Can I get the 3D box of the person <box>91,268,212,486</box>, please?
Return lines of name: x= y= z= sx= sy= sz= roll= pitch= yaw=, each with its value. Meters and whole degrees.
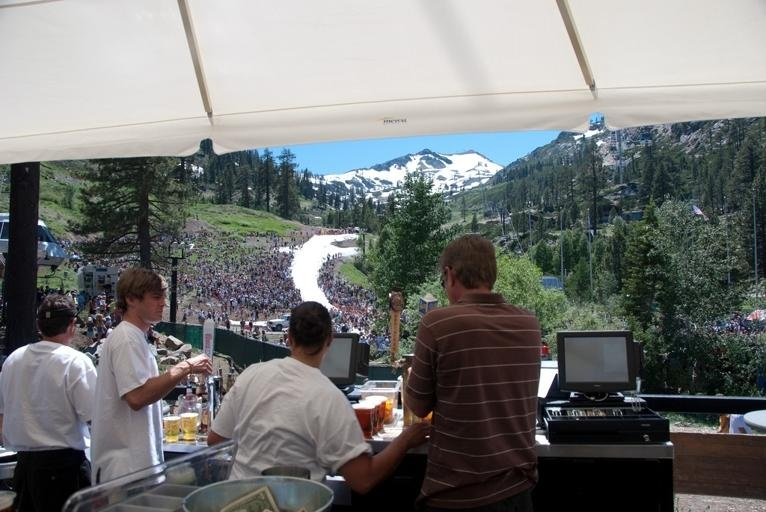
person: x=-1.543 y=0.769 z=3.743 sx=0.635 sy=1.378 sz=0.384 roll=2 pitch=-7 yaw=-27

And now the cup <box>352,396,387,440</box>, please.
cup: x=-0.099 y=1.082 z=3.850 sx=0.252 sy=0.205 sz=0.267 roll=-4 pitch=-9 yaw=-1

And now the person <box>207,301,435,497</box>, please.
person: x=-0.395 y=0.755 z=3.136 sx=1.109 sy=1.007 sz=0.400 roll=0 pitch=-7 yaw=-12
